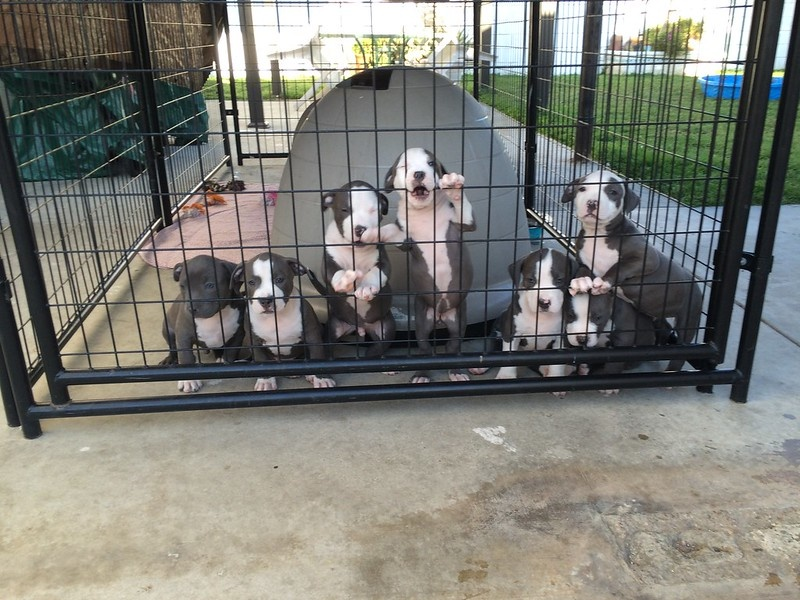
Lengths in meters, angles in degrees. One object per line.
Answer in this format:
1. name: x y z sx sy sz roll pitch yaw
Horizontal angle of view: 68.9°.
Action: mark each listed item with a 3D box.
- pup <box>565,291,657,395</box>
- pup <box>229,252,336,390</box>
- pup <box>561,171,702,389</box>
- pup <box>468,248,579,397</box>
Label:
1. pup: 1.151 0.165 3.335 0.408 0.612 0.822 5 7 40
2. pup: -0.621 0.140 3.169 0.460 0.817 0.509 -9 27 -13
3. pup: 1.260 -0.124 3.171 0.810 1.138 0.585 3 27 11
4. pup: 0.707 0.051 3.078 0.409 0.627 0.387 3 26 9
